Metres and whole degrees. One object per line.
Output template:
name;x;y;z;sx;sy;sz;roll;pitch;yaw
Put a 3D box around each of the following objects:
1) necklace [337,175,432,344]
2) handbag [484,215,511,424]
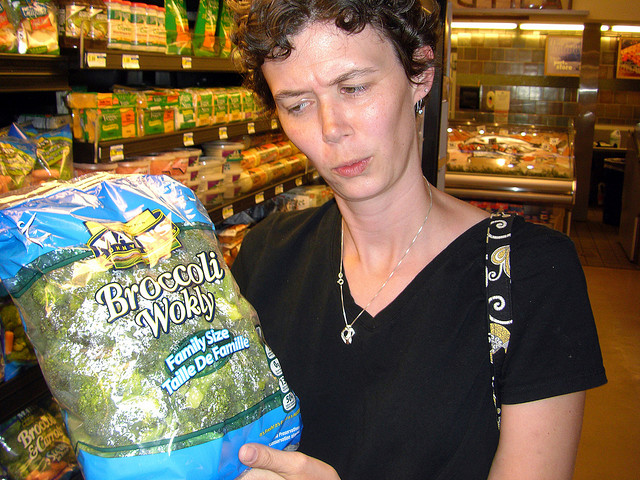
necklace;0.135;0.044;1.256;0.196;0.426;0.060;12;-1;14
handbag;0.407;0.178;1.110;0.054;0.408;0.210;2;16;20
